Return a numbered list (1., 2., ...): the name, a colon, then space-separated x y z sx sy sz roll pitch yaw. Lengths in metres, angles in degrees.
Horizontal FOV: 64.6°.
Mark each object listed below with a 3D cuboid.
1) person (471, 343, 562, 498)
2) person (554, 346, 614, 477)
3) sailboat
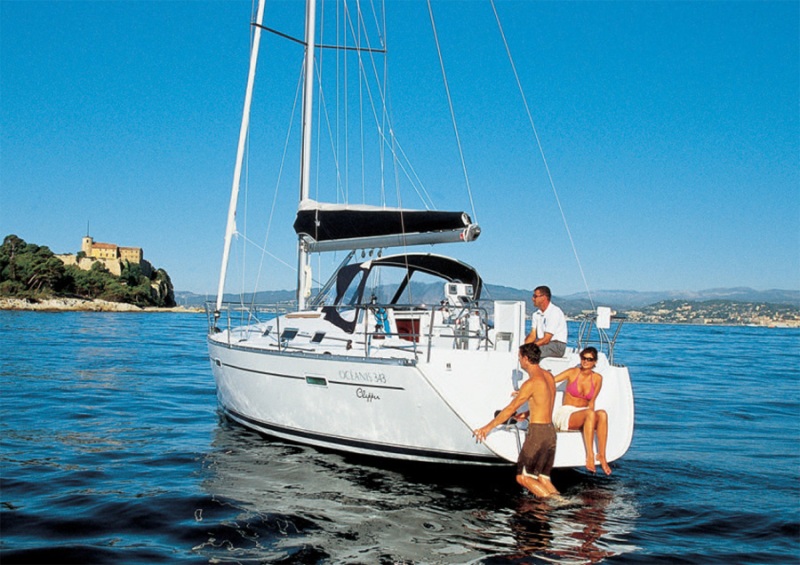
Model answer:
1. person: 1.501 1.651 7.570 0.975 1.859 0.461 3 -2 -2
2. person: 2.157 1.509 7.739 0.854 1.419 0.779 15 -12 -26
3. sailboat: -0.076 -1.420 9.380 6.264 7.753 2.633 1 -3 44
